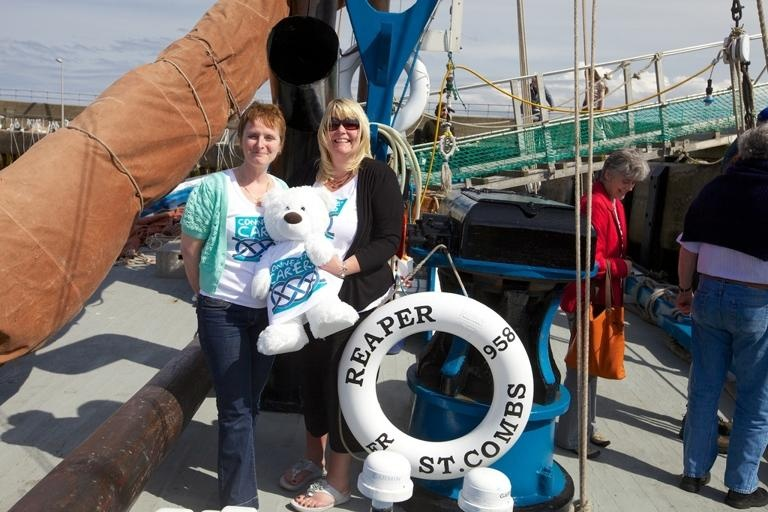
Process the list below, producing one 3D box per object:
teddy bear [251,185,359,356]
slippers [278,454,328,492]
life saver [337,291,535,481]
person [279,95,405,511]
[{"bbox_3d":[-0.490,0.070,3.724,0.598,0.961,0.361,-2,11,-13],"label":"teddy bear"},{"bbox_3d":[-0.548,1.473,4.278,0.305,0.136,0.160,-3,8,-42],"label":"slippers"},{"bbox_3d":[0.300,0.786,3.815,1.161,1.130,0.288,0,11,-4],"label":"life saver"},{"bbox_3d":[-0.217,0.312,4.170,0.757,2.592,0.822,1,3,4],"label":"person"}]
